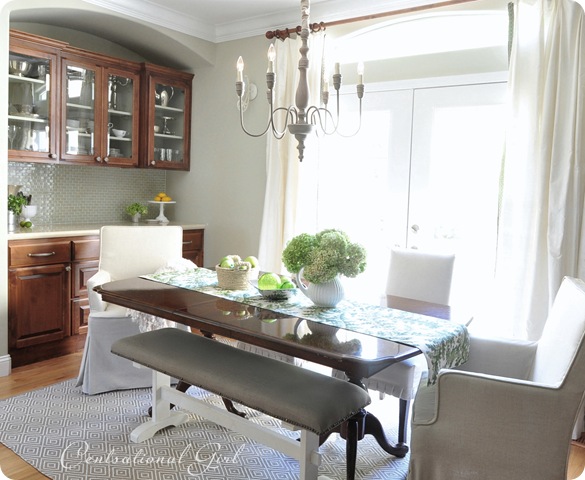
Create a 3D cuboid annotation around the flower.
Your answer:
[{"bbox_3d":[0.158,0.042,2.424,0.359,0.251,0.274,-11,7,-11],"label":"flower"}]

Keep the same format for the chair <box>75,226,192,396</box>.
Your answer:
[{"bbox_3d":[-1.139,0.488,3.552,0.792,1.118,0.685,2,6,-14],"label":"chair"}]

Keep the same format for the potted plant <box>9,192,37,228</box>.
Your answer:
[{"bbox_3d":[-2.258,-0.245,3.928,0.218,0.337,0.331,-3,10,-34],"label":"potted plant"}]

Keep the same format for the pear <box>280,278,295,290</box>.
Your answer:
[{"bbox_3d":[-0.026,0.238,2.581,0.057,0.068,0.058,-18,-22,13],"label":"pear"}]

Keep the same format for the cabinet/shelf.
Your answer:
[{"bbox_3d":[-1.756,-1.278,4.241,0.369,0.677,1.367,6,7,32],"label":"cabinet/shelf"}]

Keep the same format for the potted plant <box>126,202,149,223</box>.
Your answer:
[{"bbox_3d":[-1.591,-0.279,4.866,0.221,0.218,0.218,8,10,35],"label":"potted plant"}]

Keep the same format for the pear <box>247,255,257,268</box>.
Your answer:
[{"bbox_3d":[-0.258,0.135,2.866,0.066,0.081,0.066,-9,1,12],"label":"pear"}]

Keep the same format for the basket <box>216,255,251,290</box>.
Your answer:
[{"bbox_3d":[-0.342,0.203,2.820,0.172,0.150,0.200,1,-1,4],"label":"basket"}]

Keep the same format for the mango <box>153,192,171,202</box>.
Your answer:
[{"bbox_3d":[-1.354,-0.437,5.004,0.157,0.070,0.158,3,0,-2],"label":"mango"}]

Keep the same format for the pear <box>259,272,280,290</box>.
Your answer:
[{"bbox_3d":[-0.120,0.225,2.577,0.088,0.089,0.090,-5,-1,-9],"label":"pear"}]

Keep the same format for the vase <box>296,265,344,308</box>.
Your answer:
[{"bbox_3d":[0.194,0.279,2.523,0.155,0.231,0.228,2,-21,11],"label":"vase"}]

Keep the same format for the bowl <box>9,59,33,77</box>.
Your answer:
[{"bbox_3d":[-2.116,-1.351,3.681,0.031,0.142,0.194,6,11,19],"label":"bowl"}]

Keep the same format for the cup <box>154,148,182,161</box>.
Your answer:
[{"bbox_3d":[-1.261,-0.865,4.805,0.167,0.114,0.125,1,4,25],"label":"cup"}]
